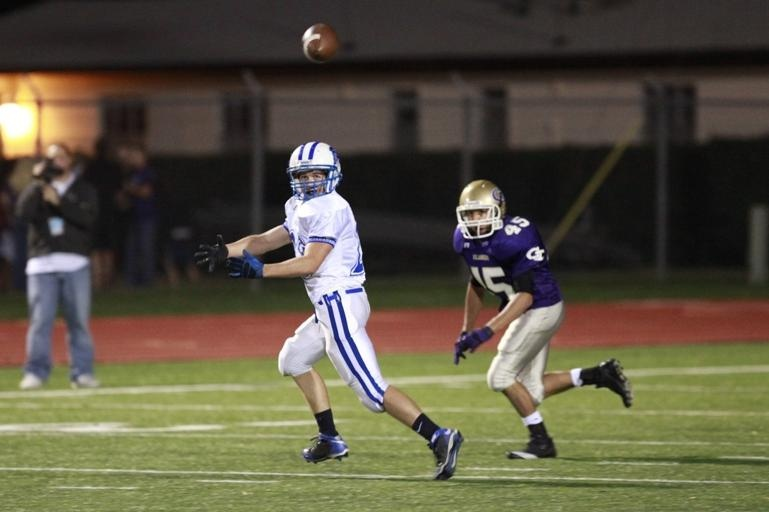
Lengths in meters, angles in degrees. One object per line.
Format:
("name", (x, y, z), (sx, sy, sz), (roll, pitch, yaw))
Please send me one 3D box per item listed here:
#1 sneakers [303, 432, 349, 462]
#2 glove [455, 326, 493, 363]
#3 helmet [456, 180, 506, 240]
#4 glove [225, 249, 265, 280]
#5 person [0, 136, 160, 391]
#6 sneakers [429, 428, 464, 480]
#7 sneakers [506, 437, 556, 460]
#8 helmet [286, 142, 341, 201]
("sneakers", (-0.509, 1.804, 12.563), (0.479, 0.219, 0.201), (-3, -3, 5))
("glove", (0.835, 0.809, 12.529), (0.335, 0.385, 0.463), (-1, 9, -5))
("helmet", (0.857, -0.431, 12.799), (0.440, 0.436, 0.583), (-8, 18, 29))
("glove", (-1.237, 0.093, 12.259), (0.333, 0.290, 0.486), (-1, 9, -6))
("person", (-3.263, -0.059, 13.734), (0.791, 2.041, 1.249), (-3, 10, -14))
("sneakers", (0.573, 1.743, 12.063), (0.277, 0.541, 0.200), (9, -8, 2))
("sneakers", (1.432, 1.819, 12.680), (0.540, 0.220, 0.171), (2, -5, 0))
("helmet", (-0.600, -0.808, 12.787), (0.466, 0.433, 0.581), (-2, 3, 27))
